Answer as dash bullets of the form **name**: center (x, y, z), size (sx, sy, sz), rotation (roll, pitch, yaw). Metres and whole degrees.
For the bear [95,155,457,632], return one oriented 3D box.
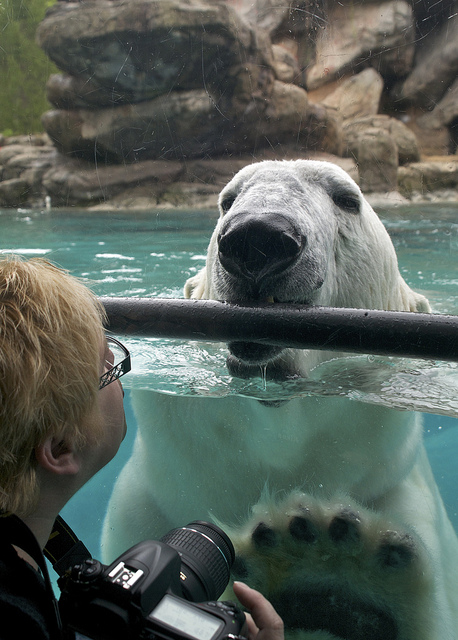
- **bear**: center (0.166, 0.430, 3.058), size (1.414, 2.452, 1.400), rotation (4, 57, 24)
